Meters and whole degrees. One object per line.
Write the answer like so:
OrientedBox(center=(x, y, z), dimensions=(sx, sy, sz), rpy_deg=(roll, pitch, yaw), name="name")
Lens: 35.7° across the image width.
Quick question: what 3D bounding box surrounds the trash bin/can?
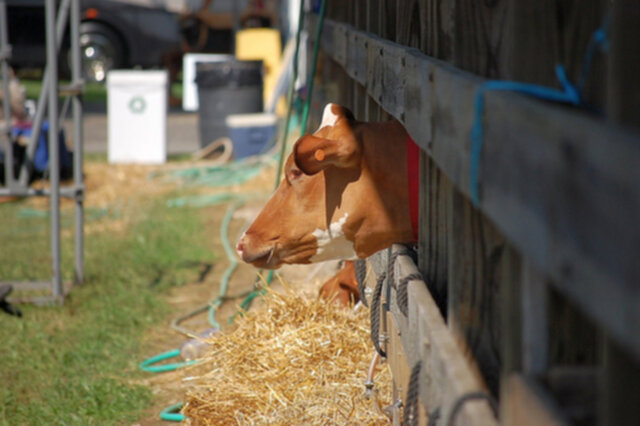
OrientedBox(center=(-1.038, -1.296, 11.880), dimensions=(0.807, 1.640, 0.939), rpy_deg=(1, -2, -14), name="trash bin/can")
